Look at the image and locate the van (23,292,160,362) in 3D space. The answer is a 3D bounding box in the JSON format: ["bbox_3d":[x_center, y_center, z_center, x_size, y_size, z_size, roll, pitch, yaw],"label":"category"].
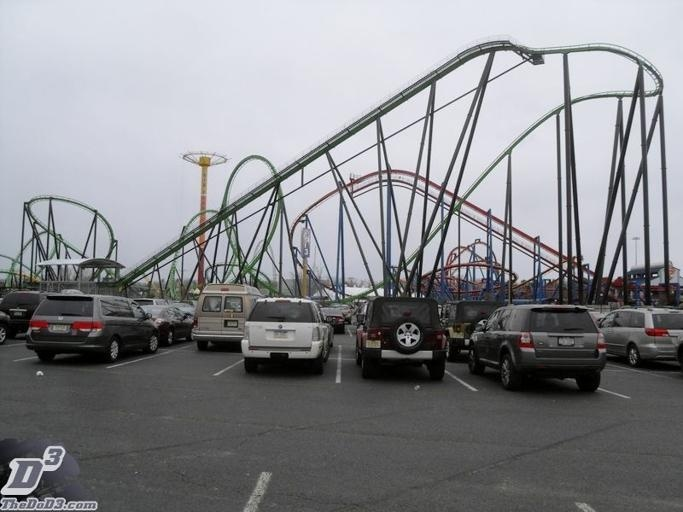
[{"bbox_3d":[-6.125,1.798,15.051,1.498,1.177,3.207,-1,-4,12],"label":"van"}]

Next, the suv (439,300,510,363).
[{"bbox_3d":[3.721,2.073,17.255,1.160,1.193,2.164,0,-3,-2],"label":"suv"}]

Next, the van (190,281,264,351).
[{"bbox_3d":[-3.742,1.899,17.819,1.460,1.497,2.657,0,-2,5],"label":"van"}]

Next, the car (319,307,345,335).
[{"bbox_3d":[-0.328,3.262,28.574,0.969,0.844,2.239,-1,-11,3],"label":"car"}]

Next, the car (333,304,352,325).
[{"bbox_3d":[0.346,4.182,41.221,0.922,0.877,2.068,-1,-16,2],"label":"car"}]

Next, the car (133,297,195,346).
[{"bbox_3d":[-6.184,2.356,20.278,1.302,1.128,3.267,-1,-5,10],"label":"car"}]

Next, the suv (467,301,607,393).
[{"bbox_3d":[3.912,1.885,12.410,1.457,1.188,2.827,2,-2,-8],"label":"suv"}]
